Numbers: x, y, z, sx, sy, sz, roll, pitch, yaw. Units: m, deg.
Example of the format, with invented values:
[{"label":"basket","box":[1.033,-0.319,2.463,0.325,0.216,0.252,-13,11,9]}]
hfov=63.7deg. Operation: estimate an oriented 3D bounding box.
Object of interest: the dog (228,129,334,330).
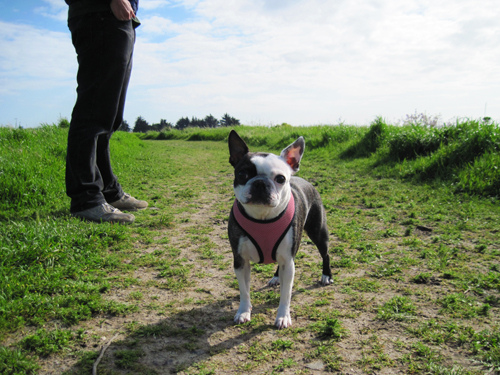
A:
[{"label":"dog","box":[0.295,0.377,4.297,1.166,1.945,0.752,-7,11,-39]}]
